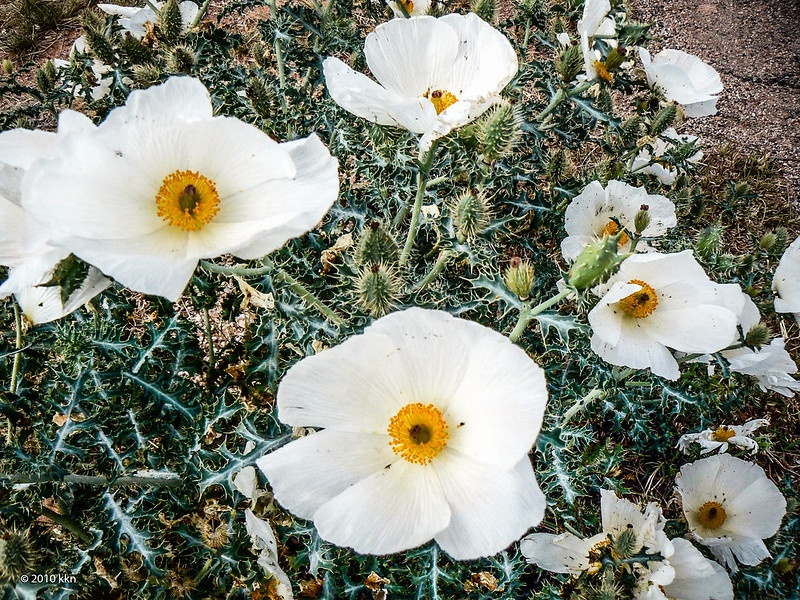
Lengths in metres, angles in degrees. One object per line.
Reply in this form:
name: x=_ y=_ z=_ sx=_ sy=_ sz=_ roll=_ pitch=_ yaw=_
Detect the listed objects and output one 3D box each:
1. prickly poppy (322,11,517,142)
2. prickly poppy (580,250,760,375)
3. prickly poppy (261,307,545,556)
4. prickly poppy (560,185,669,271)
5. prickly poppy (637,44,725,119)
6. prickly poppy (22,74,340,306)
prickly poppy: x=0.147 y=-0.964 z=3.718 sx=0.620 sy=0.662 sz=0.452 roll=-11 pitch=99 yaw=21
prickly poppy: x=1.129 y=0.080 z=3.718 sx=0.552 sy=0.217 sz=0.590 roll=33 pitch=81 yaw=8
prickly poppy: x=0.065 y=0.534 z=3.075 sx=0.860 sy=1.081 sz=0.300 roll=16 pitch=38 yaw=10
prickly poppy: x=1.053 y=-0.433 z=4.253 sx=0.409 sy=0.431 sz=0.181 roll=-2 pitch=80 yaw=12
prickly poppy: x=1.403 y=-1.107 z=4.397 sx=0.383 sy=0.147 sz=0.394 roll=22 pitch=70 yaw=-25
prickly poppy: x=-0.721 y=-0.376 z=3.040 sx=1.062 sy=0.378 sz=0.950 roll=-17 pitch=47 yaw=-36
